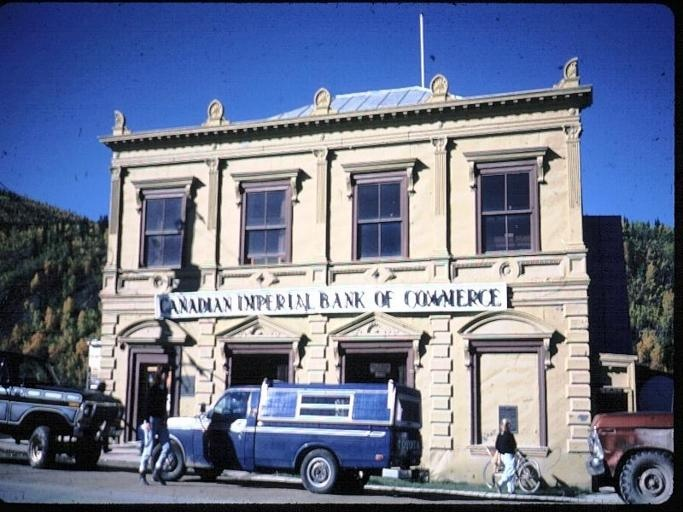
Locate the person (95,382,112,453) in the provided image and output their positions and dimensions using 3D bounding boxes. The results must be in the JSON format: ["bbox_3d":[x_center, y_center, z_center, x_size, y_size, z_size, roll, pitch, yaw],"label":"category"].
[{"bbox_3d":[-7.437,5.092,35.624,0.397,2.188,0.646,-3,-5,-29],"label":"person"}]
